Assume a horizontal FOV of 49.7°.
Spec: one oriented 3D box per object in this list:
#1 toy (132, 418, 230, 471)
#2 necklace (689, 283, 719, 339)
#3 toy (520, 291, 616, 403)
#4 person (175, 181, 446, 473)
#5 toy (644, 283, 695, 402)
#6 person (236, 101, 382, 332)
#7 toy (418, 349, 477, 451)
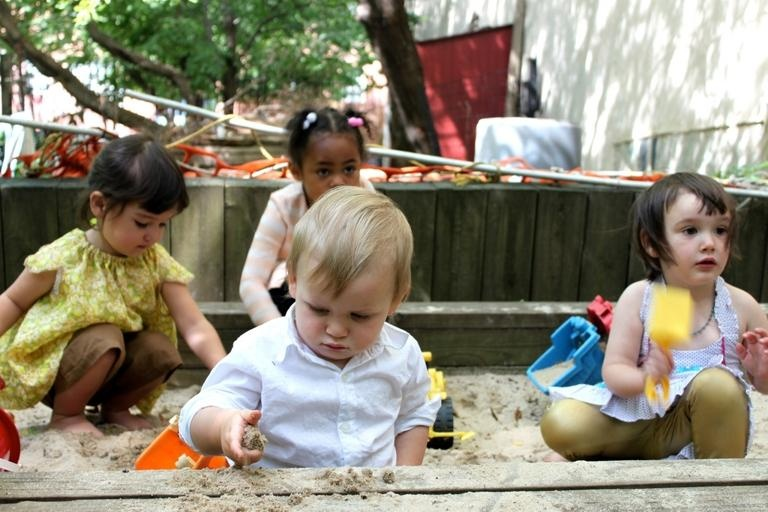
[{"bbox_3d":[-0.845,0.798,3.462,0.192,0.227,0.176,27,-1,-35],"label":"toy"},{"bbox_3d":[1.411,0.255,3.647,0.007,0.186,0.134,8,-8,-11],"label":"necklace"},{"bbox_3d":[0.963,0.471,4.223,0.246,0.599,0.360,35,10,-19],"label":"toy"},{"bbox_3d":[-0.240,0.320,3.272,1.038,1.148,0.429,-3,12,-19],"label":"person"},{"bbox_3d":[1.194,0.385,3.492,0.183,0.522,0.423,4,12,21],"label":"toy"},{"bbox_3d":[-0.447,-0.254,4.344,0.929,1.379,0.973,0,12,-17],"label":"person"},{"bbox_3d":[0.281,0.742,3.990,0.255,0.291,0.479,1,2,-1],"label":"toy"}]
